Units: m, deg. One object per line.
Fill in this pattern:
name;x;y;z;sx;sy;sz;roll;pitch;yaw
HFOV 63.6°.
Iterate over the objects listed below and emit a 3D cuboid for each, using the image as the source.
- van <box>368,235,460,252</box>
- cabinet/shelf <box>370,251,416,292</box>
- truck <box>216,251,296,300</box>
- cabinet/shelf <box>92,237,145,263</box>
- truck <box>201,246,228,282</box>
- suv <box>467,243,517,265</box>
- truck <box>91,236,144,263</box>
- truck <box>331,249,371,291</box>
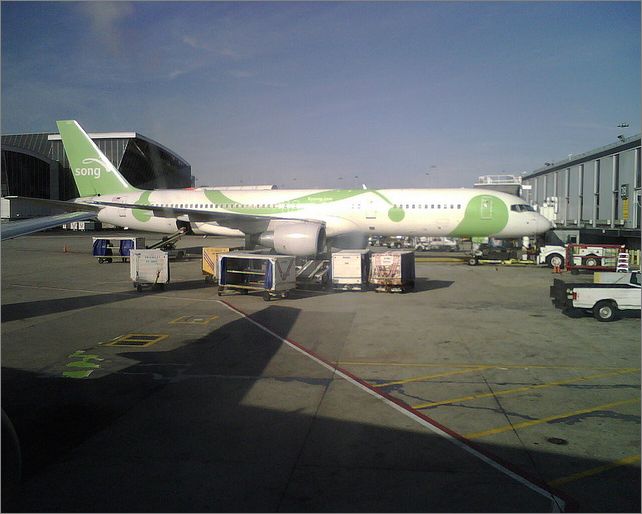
van;8.858;-1.213;47.785;6.339;1.024;1.525;1;7;17
cabinet/shelf;3.184;0.639;22.462;1.342;1.814;1.828;6;12;26
truck;-2.683;0.685;21.437;3.367;1.487;1.893;3;2;28
cabinet/shelf;-12.015;-0.434;30.655;3.083;1.229;1.891;1;3;3
truck;-4.823;0.355;23.553;1.044;1.377;1.418;4;-23;-4
suv;11.649;-0.133;33.580;3.969;1.416;1.313;1;4;6
truck;-12.245;-0.422;31.034;3.173;1.271;1.941;1;3;2
truck;1.310;0.633;23.018;1.414;1.756;1.539;3;11;12
